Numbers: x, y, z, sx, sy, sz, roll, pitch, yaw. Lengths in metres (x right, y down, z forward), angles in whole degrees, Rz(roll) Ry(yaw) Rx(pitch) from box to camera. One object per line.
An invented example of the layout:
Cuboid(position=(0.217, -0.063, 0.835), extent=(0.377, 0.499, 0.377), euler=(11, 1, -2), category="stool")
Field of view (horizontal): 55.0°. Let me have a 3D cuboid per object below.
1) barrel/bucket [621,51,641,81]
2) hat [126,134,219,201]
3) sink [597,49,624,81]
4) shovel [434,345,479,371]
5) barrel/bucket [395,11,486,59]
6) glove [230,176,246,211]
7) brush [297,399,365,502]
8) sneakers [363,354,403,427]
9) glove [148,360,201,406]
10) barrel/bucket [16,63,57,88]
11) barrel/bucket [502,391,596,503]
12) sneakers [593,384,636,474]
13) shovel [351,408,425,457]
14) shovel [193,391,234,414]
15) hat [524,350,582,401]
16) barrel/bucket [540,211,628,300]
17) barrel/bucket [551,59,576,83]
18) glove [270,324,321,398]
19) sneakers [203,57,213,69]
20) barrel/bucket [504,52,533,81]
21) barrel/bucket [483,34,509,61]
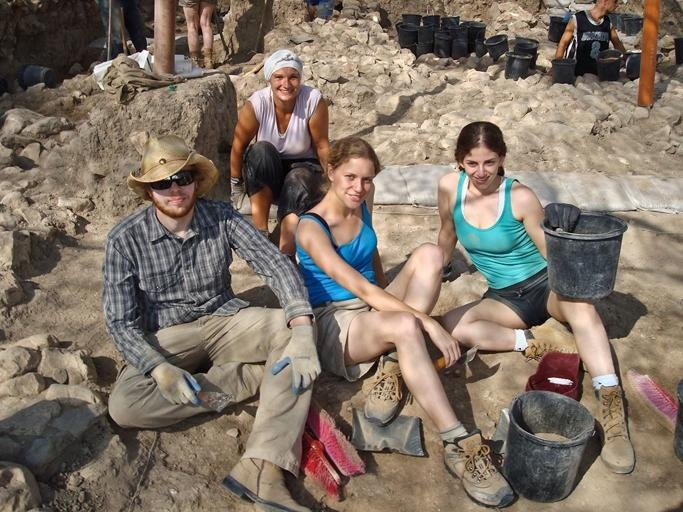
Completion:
Cuboid(position=(3.821, -2.499, 8.649), extent=(0.165, 0.328, 0.715), euler=(5, 25, 18), category="barrel/bucket")
Cuboid(position=(-1.043, -0.570, 3.887), extent=(0.420, 0.243, 0.514), euler=(-19, 6, -4), category="hat")
Cuboid(position=(3.545, -2.474, 8.749), extent=(0.368, 0.342, 0.424), euler=(-1, 34, 8), category="sink")
Cuboid(position=(0.659, 0.643, 4.001), extent=(0.063, 0.129, 0.520), euler=(-15, -13, -23), category="shovel")
Cuboid(position=(1.595, -3.497, 10.433), extent=(1.385, 0.576, 1.640), euler=(2, 24, 10), category="barrel/bucket")
Cuboid(position=(-0.874, -0.523, 5.524), extent=(0.096, 0.128, 0.317), euler=(-3, 47, -2), category="glove")
Cuboid(position=(-0.083, 1.111, 3.722), extent=(0.246, 0.105, 0.475), euler=(-31, 65, -23), category="brush")
Cuboid(position=(0.264, 0.792, 3.868), extent=(0.158, 0.207, 0.461), euler=(14, 52, -1), category="sneakers")
Cuboid(position=(-0.906, 0.705, 3.629), extent=(0.293, 0.079, 0.182), euler=(41, 62, 6), category="glove")
Cuboid(position=(-3.131, -1.847, 6.792), extent=(0.560, 0.210, 0.299), euler=(18, 31, 40), category="barrel/bucket")
Cuboid(position=(1.132, 1.040, 3.598), extent=(0.437, 0.484, 0.390), euler=(7, 24, 23), category="barrel/bucket")
Cuboid(position=(1.544, 0.984, 3.713), extent=(0.150, 0.303, 0.503), euler=(-8, 38, 13), category="sneakers")
Cuboid(position=(0.263, 1.031, 3.818), extent=(0.480, 0.107, 0.395), euler=(5, 66, -5), category="shovel")
Cuboid(position=(-0.712, 0.818, 3.720), extent=(0.165, 0.156, 0.121), euler=(5, 24, 18), category="shovel")
Cuboid(position=(1.325, 0.671, 4.182), extent=(0.304, 0.166, 0.461), euler=(2, -5, 16), category="hat")
Cuboid(position=(1.448, -0.006, 3.930), extent=(0.427, 0.480, 0.473), euler=(-8, 21, -4), category="barrel/bucket")
Cuboid(position=(2.777, -2.338, 8.312), extent=(0.274, 0.312, 0.295), euler=(-4, 20, 1), category="barrel/bucket")
Cuboid(position=(-0.232, 0.584, 3.739), extent=(0.233, 0.358, 0.128), euler=(-1, -12, 2), category="glove")
Cuboid(position=(-1.748, -2.534, 8.622), extent=(0.105, 0.156, 0.268), euler=(-8, 24, -13), category="sneakers")
Cuboid(position=(2.263, -2.459, 8.561), extent=(0.351, 0.296, 0.349), euler=(10, 23, -5), category="barrel/bucket")
Cuboid(position=(2.259, -3.040, 9.600), extent=(0.339, 0.327, 0.404), euler=(2, 24, 12), category="barrel/bucket")
